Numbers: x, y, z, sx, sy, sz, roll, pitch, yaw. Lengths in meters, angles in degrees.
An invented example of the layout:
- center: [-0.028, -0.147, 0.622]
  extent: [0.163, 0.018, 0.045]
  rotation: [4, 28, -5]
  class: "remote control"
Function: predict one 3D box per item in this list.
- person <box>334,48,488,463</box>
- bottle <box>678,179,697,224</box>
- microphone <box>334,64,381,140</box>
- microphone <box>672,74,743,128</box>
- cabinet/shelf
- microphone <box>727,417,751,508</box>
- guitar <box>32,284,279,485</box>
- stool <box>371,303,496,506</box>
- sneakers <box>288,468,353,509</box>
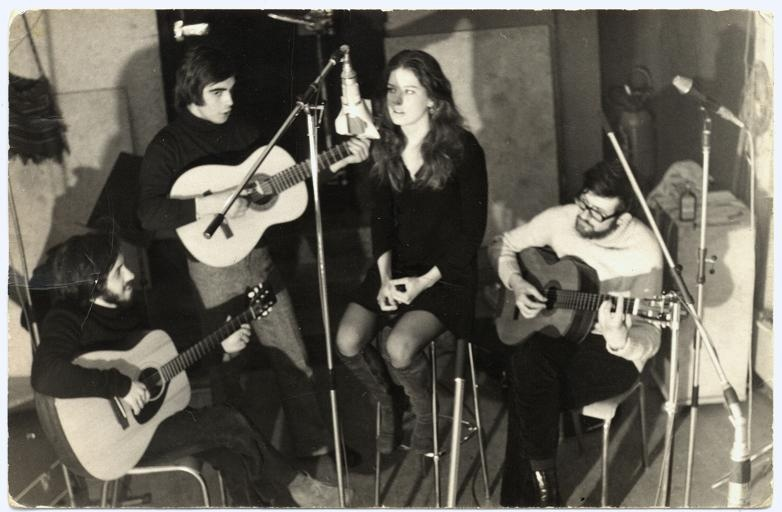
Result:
- center: [0.108, 0.012, 3.903]
  extent: [0.760, 1.998, 0.379]
  rotation: [-3, 12, -2]
  class: "person"
- center: [1.470, -0.255, 3.941]
  extent: [0.100, 0.185, 0.046]
  rotation: [-1, 1, 4]
  class: "bottle"
- center: [-0.167, -0.749, 3.875]
  extent: [0.210, 0.374, 0.050]
  rotation: [-5, 12, -10]
  class: "microphone"
- center: [1.545, -0.761, 3.924]
  extent: [0.299, 0.090, 0.074]
  rotation: [37, 63, 9]
  class: "microphone"
- center: [1.542, 0.154, 3.973]
  extent: [0.365, 0.832, 0.923]
  rotation: [-3, 12, 8]
  class: "cabinet/shelf"
- center: [1.762, 1.041, 4.034]
  extent: [0.115, 0.480, 0.073]
  rotation: [0, 13, 14]
  class: "microphone"
- center: [-1.090, 0.569, 4.143]
  extent: [1.430, 0.680, 0.238]
  rotation: [-35, 16, -12]
  class: "guitar"
- center: [0.261, 0.878, 4.209]
  extent: [0.807, 1.032, 0.756]
  rotation: [1, -10, -1]
  class: "stool"
- center: [-0.353, 1.214, 4.084]
  extent: [0.309, 0.163, 0.079]
  rotation: [5, 5, -4]
  class: "sneakers"
